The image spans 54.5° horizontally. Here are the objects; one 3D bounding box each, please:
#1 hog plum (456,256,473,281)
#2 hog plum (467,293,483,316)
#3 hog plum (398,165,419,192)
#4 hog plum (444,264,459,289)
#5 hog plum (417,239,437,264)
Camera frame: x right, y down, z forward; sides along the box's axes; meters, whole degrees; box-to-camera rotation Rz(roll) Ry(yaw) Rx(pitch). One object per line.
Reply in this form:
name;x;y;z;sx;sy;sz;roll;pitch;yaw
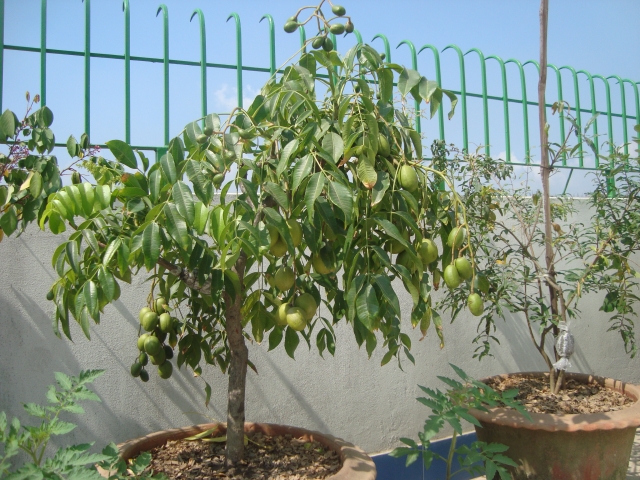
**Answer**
hog plum;0.507;0.094;2.141;0.095;0.076;0.058;-3;0;-39
hog plum;0.551;0.227;2.198;0.042;0.081;0.164;-3;0;15
hog plum;0.304;-0.214;2.139;0.069;0.091;0.063;-3;0;2
hog plum;0.459;0.121;2.157;0.048;0.083;0.051;-11;-2;-37
hog plum;0.370;0.038;2.132;0.067;0.098;0.073;-14;1;-10
